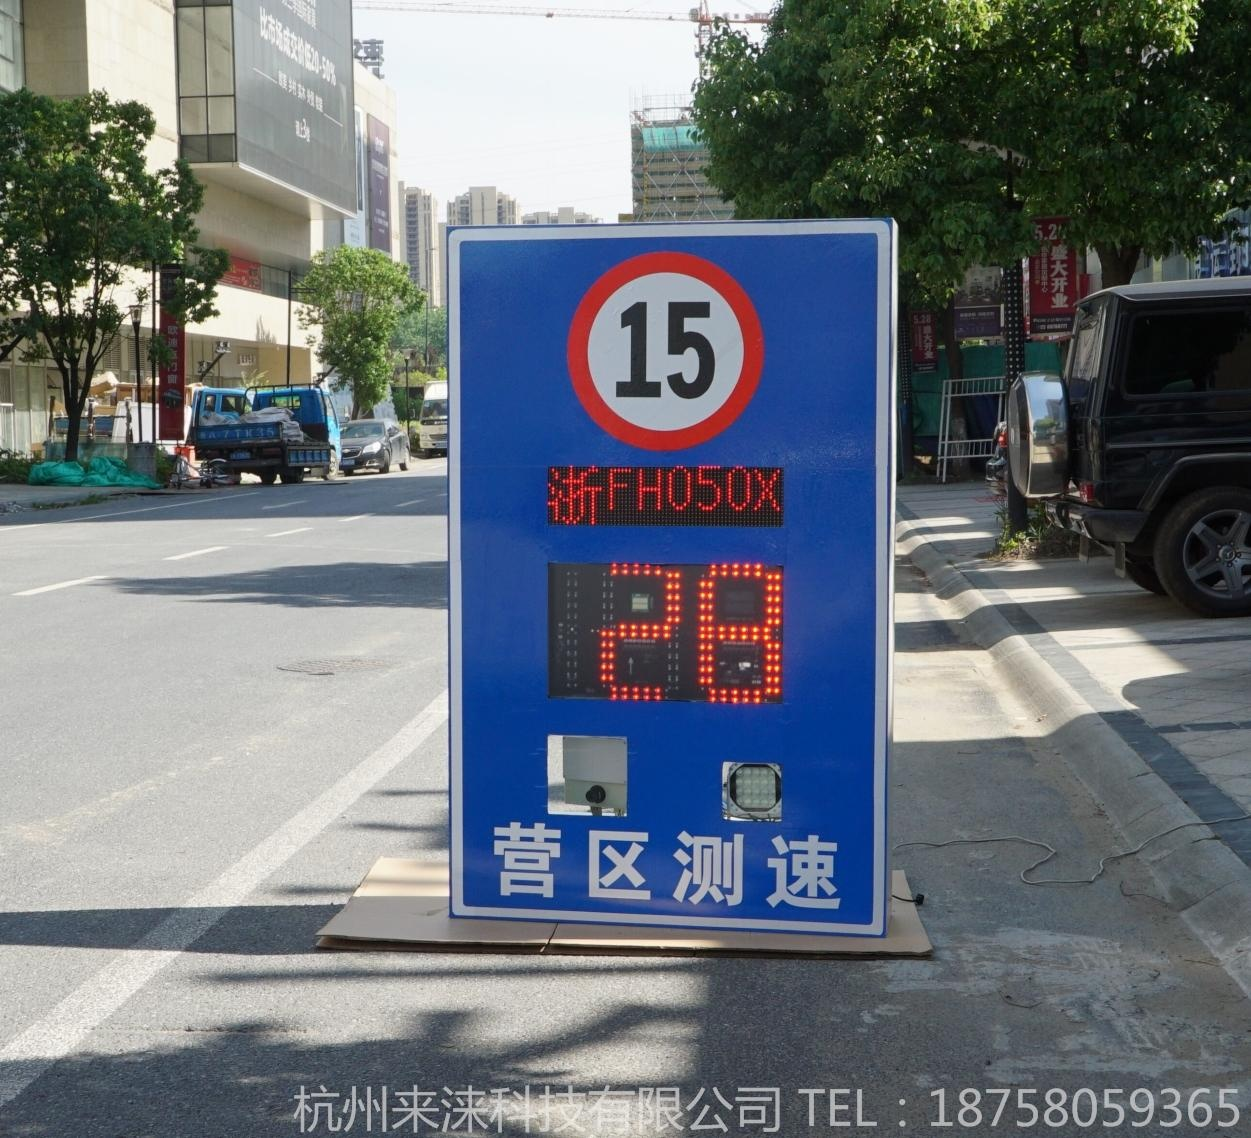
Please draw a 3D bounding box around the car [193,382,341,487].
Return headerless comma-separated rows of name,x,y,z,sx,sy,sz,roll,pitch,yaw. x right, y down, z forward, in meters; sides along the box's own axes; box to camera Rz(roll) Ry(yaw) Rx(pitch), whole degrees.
car,-9.520,-3.816,43.253,2.455,2.360,4.294,2,11,15
